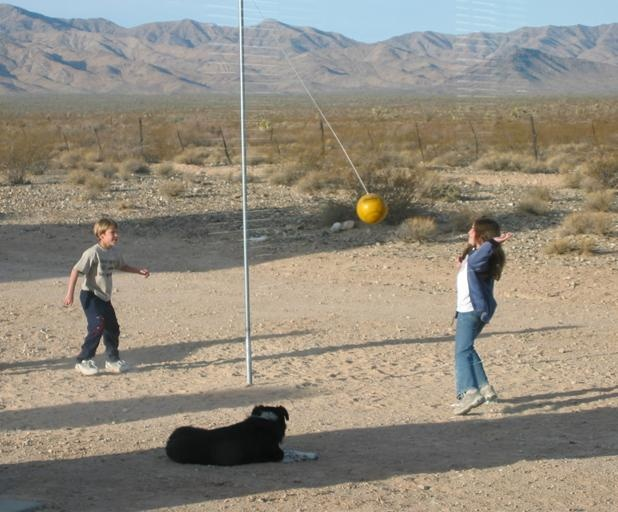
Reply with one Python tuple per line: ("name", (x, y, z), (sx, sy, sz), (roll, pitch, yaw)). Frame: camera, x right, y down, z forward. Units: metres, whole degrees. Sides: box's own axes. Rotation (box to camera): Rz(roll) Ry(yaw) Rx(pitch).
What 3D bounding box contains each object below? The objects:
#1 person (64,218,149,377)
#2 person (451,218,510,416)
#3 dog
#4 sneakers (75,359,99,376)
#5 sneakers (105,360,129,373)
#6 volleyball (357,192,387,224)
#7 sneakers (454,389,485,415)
("person", (-2.460, 0.497, 10.837), (0.768, 1.840, 0.392), (-6, 15, -18))
("person", (1.829, 0.652, 9.812), (0.526, 2.090, 0.590), (1, 15, 9))
("dog", (-0.658, 1.705, 8.935), (1.579, 0.563, 0.530), (-1, -3, -15))
("sneakers", (-2.663, 1.336, 10.979), (0.299, 0.117, 0.136), (1, 5, 31))
("sneakers", (-2.316, 1.338, 11.081), (0.265, 0.102, 0.131), (-1, 9, 16))
("volleyball", (0.753, -0.554, 10.829), (0.359, 0.379, 0.353), (8, 15, 29))
("sneakers", (1.684, 1.584, 9.885), (0.199, 0.418, 0.147), (24, 44, -34))
